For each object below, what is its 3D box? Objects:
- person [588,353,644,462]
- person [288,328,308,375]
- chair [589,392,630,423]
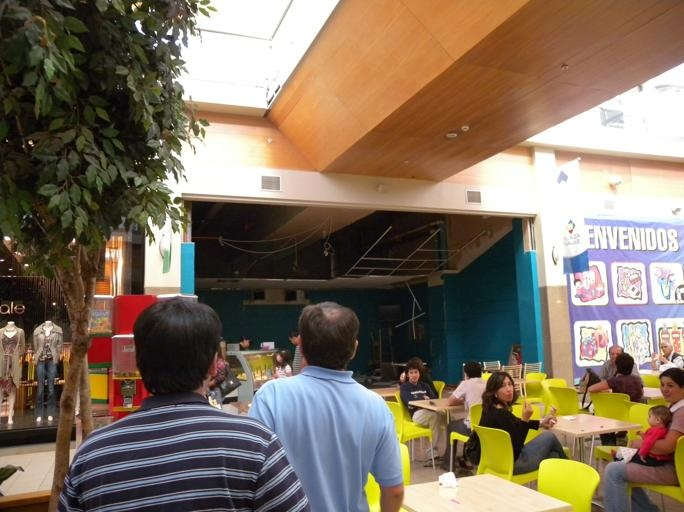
[{"bbox_3d":[3.815,1.940,6.908,0.624,1.251,0.726,-7,9,-39],"label":"person"},{"bbox_3d":[-1.011,1.941,10.384,0.320,0.315,1.093,-17,31,5],"label":"person"},{"bbox_3d":[3.374,1.863,6.125,0.340,0.483,0.298,2,-3,-40],"label":"chair"}]
